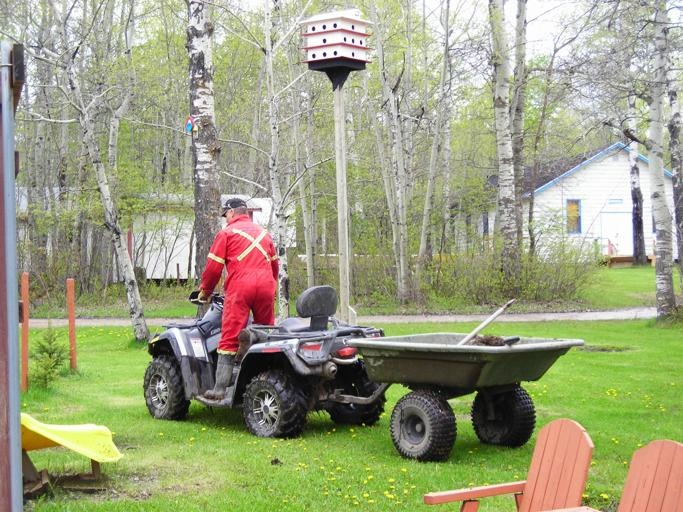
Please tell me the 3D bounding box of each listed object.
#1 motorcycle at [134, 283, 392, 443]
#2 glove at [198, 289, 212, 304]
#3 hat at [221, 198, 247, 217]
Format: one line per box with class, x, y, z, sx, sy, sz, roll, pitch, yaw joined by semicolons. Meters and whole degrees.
motorcycle;-1.139;1.412;12.348;3.078;2.044;1.739;4;0;30
glove;-1.888;0.573;11.796;0.125;0.210;0.181;4;2;11
hat;-1.556;-0.726;12.354;0.310;0.300;0.253;12;9;36
